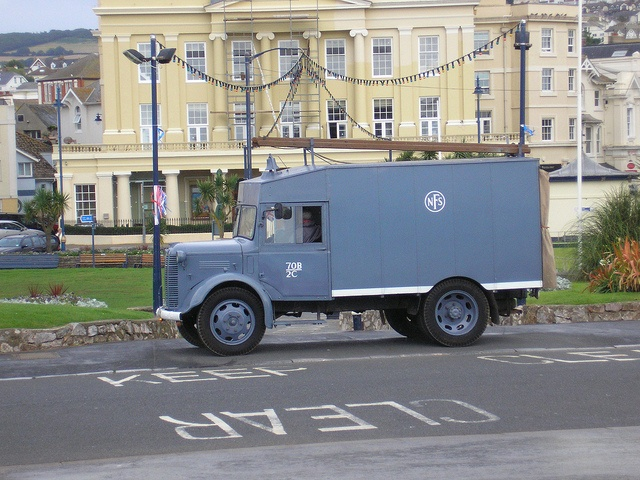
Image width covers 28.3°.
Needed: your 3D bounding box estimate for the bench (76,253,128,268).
[{"bbox_3d":[-10.386,1.018,61.415,2.347,0.562,0.743,-7,4,-2],"label":"bench"}]
